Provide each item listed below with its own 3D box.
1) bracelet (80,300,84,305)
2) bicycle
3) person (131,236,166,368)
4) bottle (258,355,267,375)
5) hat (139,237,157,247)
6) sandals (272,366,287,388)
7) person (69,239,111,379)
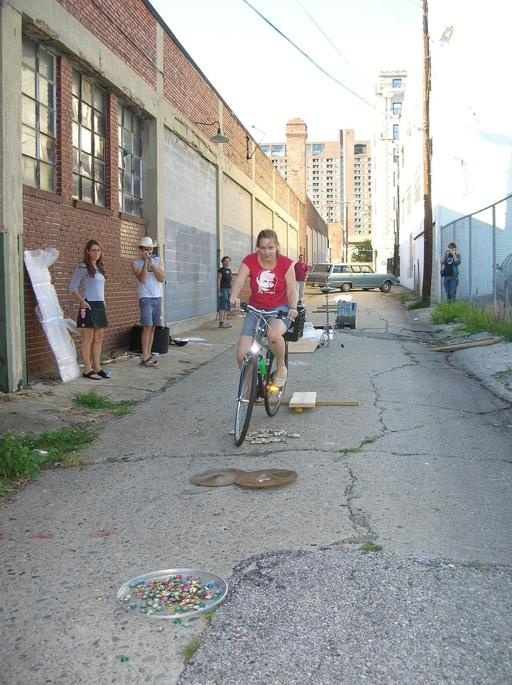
[{"bbox_3d":[-2.418,-0.548,7.916,0.061,0.058,0.079,1,-3,17],"label":"bracelet"},{"bbox_3d":[0.187,0.346,5.375,0.526,0.806,1.320,3,5,12],"label":"bicycle"},{"bbox_3d":[-1.852,-0.705,9.808,0.455,2.166,0.877,-3,6,6],"label":"person"},{"bbox_3d":[0.047,0.202,5.416,0.081,0.153,0.093,1,-2,-17],"label":"bottle"},{"bbox_3d":[-1.975,-1.759,10.187,0.358,0.167,0.398,-3,2,-29],"label":"hat"},{"bbox_3d":[0.211,0.352,5.745,0.091,0.248,0.074,-1,-5,24],"label":"sandals"},{"bbox_3d":[-2.363,-0.447,8.089,0.393,1.965,0.568,-2,6,14],"label":"person"}]
